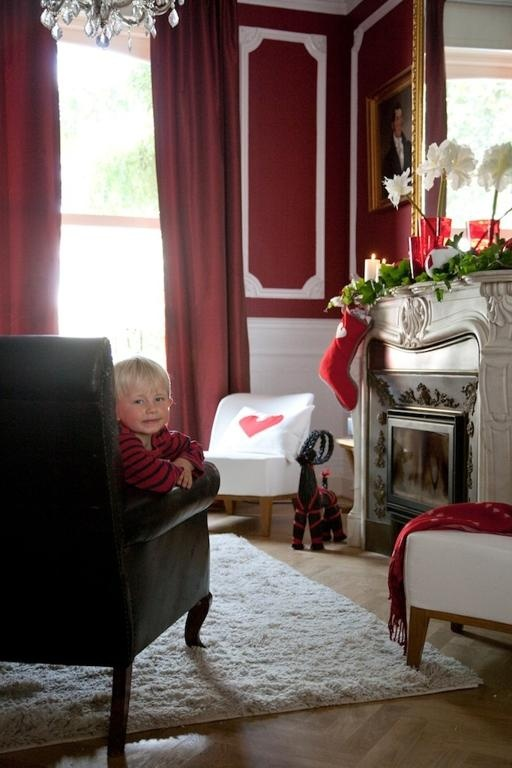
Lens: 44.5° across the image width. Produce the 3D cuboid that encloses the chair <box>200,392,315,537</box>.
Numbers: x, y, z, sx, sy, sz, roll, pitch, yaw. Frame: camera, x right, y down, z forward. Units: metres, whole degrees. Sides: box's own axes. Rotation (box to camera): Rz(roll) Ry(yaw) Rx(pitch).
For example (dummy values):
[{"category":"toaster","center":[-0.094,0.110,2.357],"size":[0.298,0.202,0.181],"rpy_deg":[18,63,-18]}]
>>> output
[{"category":"chair","center":[-0.043,0.453,3.906],"size":[0.648,0.834,0.771],"rpy_deg":[0,-6,6]}]

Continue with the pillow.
[{"category":"pillow","center":[0.113,0.268,3.839],"size":[0.585,0.300,0.261],"rpy_deg":[-1,14,44]}]
